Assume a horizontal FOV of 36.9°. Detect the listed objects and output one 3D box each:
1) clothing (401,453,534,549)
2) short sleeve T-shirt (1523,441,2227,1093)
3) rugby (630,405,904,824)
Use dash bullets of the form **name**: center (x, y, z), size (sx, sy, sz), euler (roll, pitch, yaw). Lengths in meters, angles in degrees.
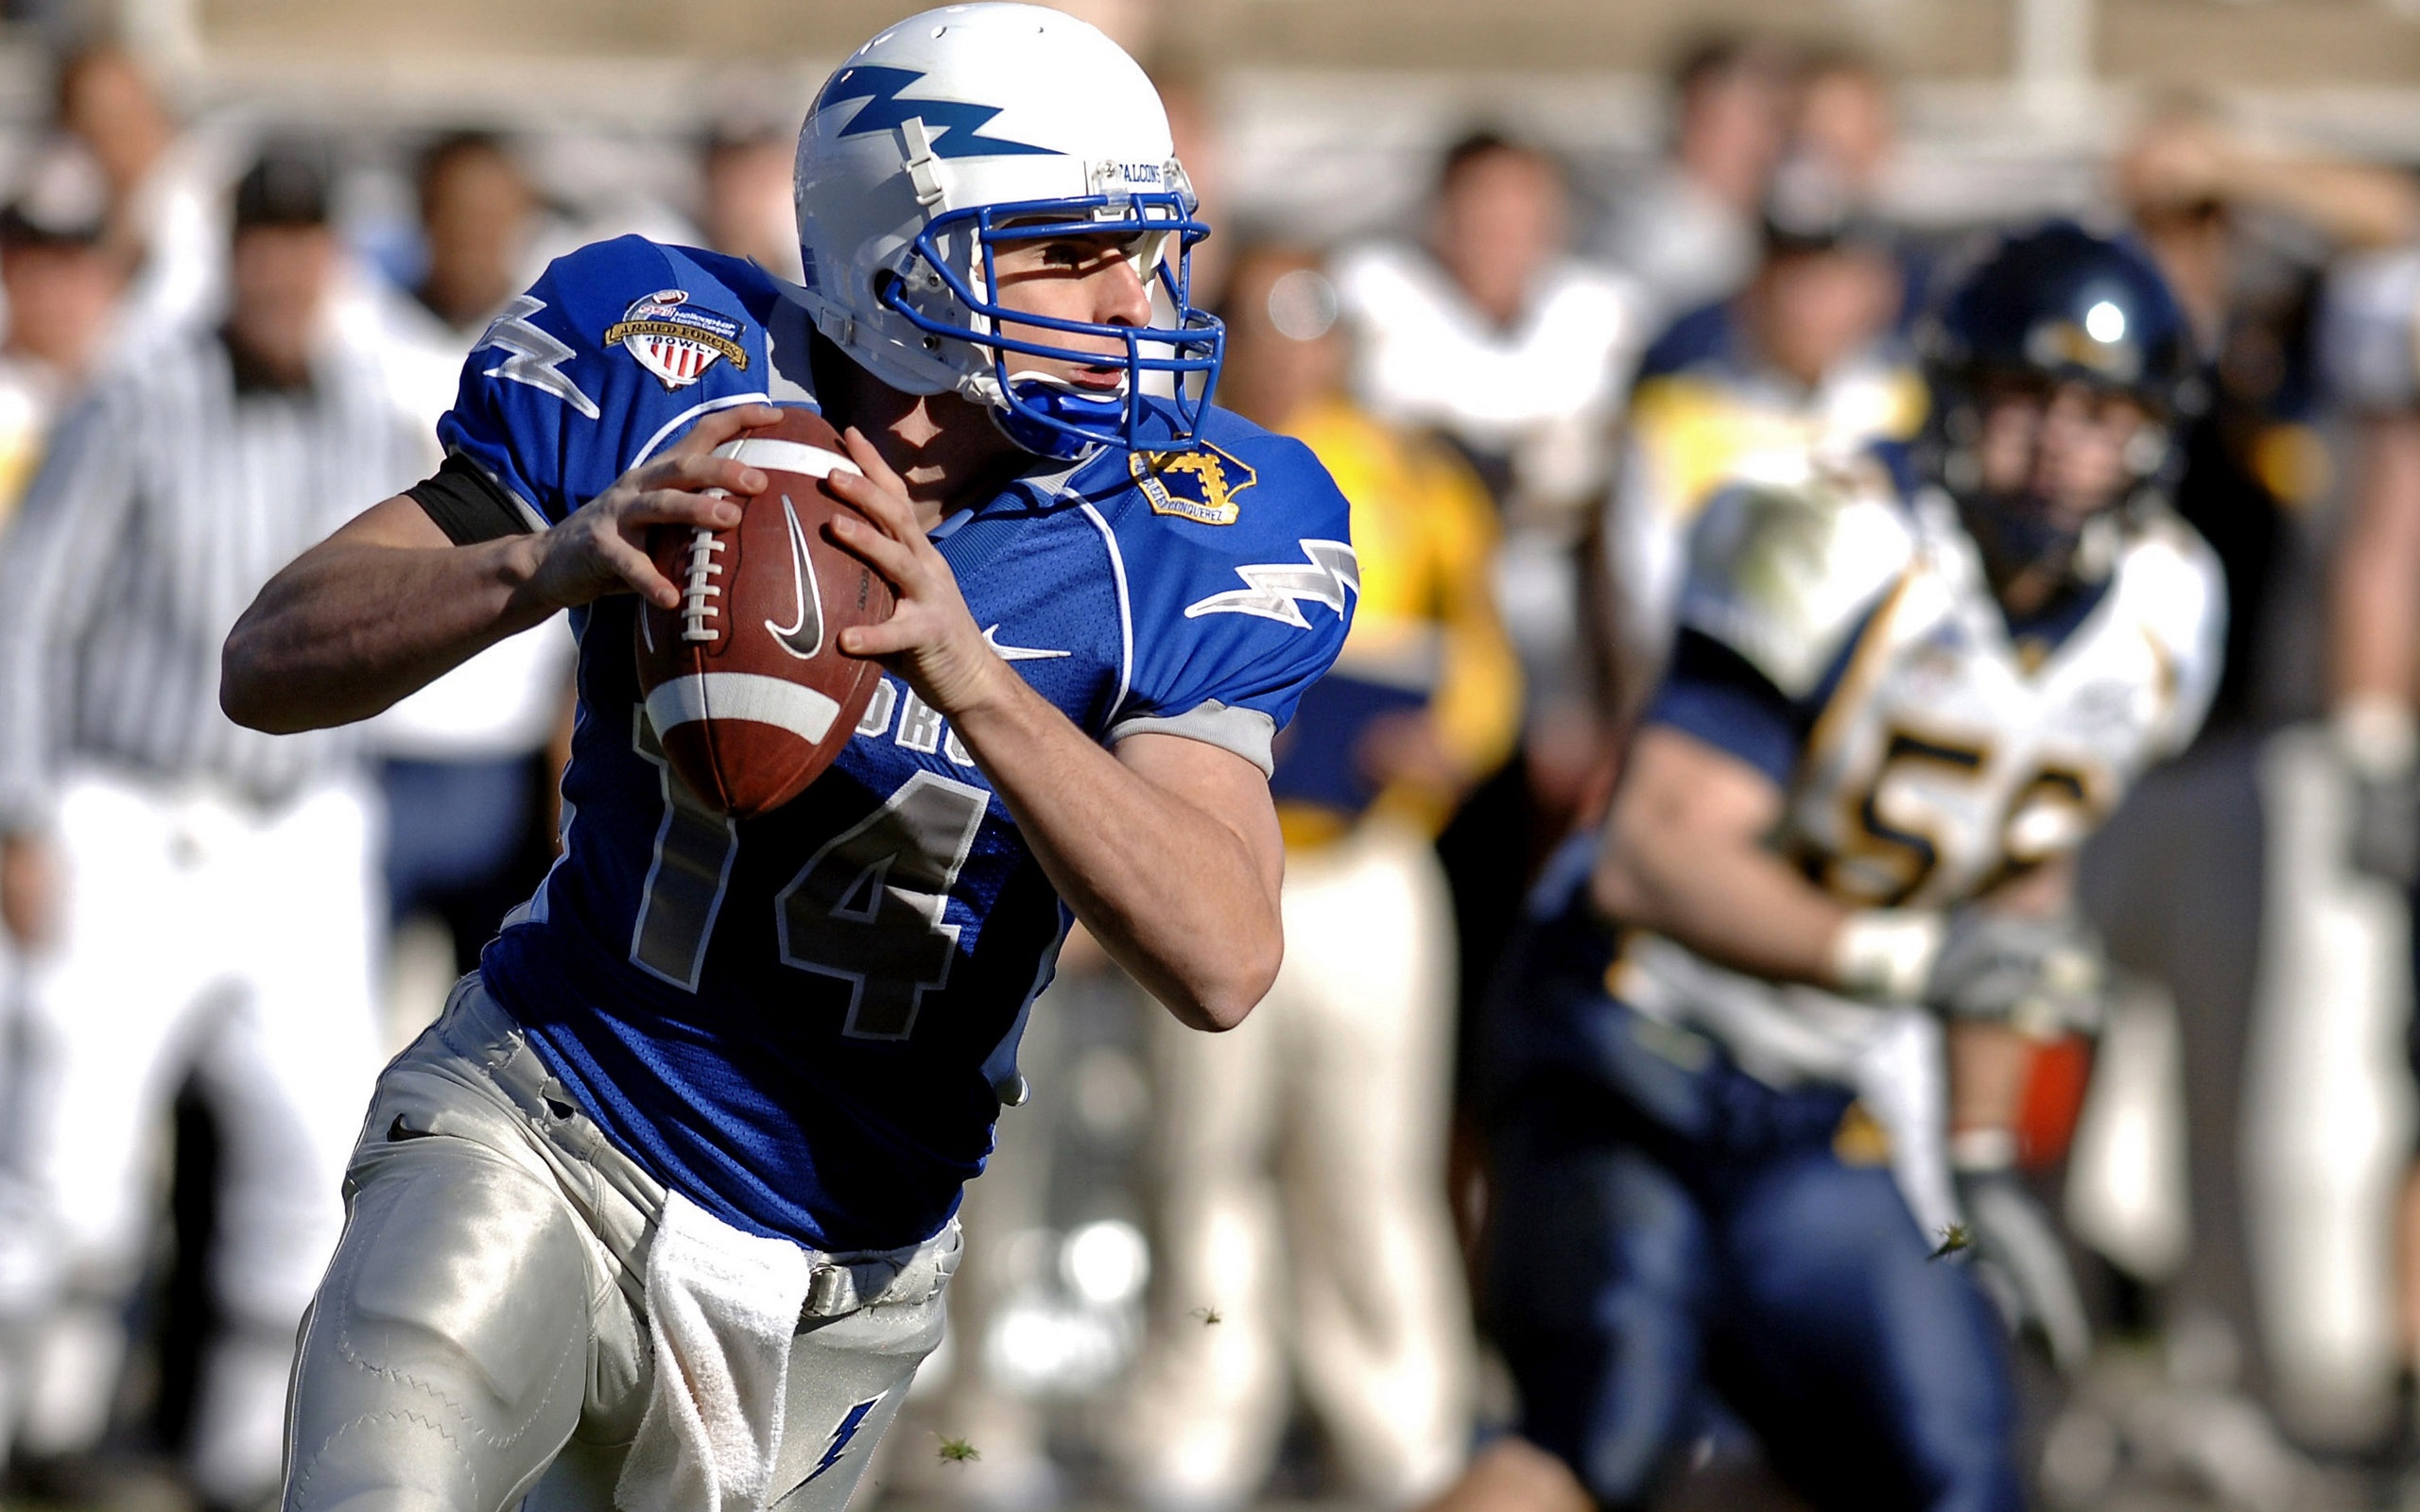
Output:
- **clothing**: center (-1.137, -0.394, 5.593), size (0.154, 0.089, 0.146), euler (37, 26, 16)
- **short sleeve T-shirt**: center (1.260, 0.003, 7.167), size (0.993, 1.162, 0.612), euler (28, 15, -44)
- **rugby**: center (-0.667, -0.218, 5.392), size (0.372, 0.560, 0.256), euler (-6, 17, -12)
